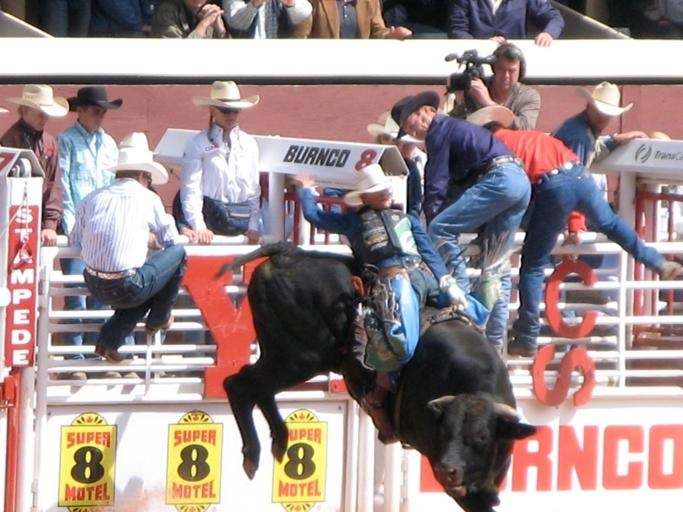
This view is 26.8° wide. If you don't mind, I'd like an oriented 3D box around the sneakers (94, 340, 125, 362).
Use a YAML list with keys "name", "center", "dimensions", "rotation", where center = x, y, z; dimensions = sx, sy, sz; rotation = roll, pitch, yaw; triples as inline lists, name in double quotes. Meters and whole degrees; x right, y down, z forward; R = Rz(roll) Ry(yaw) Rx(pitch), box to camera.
- name: "sneakers"
  center: [-1.763, 0.720, 10.742]
  dimensions: [0.175, 0.163, 0.238]
  rotation: [-3, 3, -7]

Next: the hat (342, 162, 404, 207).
- name: "hat"
  center: [0.208, -0.469, 10.356]
  dimensions: [0.338, 0.126, 0.302]
  rotation: [-25, -4, 38]

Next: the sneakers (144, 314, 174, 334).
- name: "sneakers"
  center: [-1.395, 0.518, 10.876]
  dimensions: [0.211, 0.142, 0.199]
  rotation: [-3, 3, -9]

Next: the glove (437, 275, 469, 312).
- name: "glove"
  center: [0.795, 0.264, 10.160]
  dimensions: [0.158, 0.258, 0.110]
  rotation: [7, -48, -51]

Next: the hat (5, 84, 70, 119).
- name: "hat"
  center: [-2.647, -1.357, 12.219]
  dimensions: [0.470, 0.173, 0.371]
  rotation: [8, -2, 34]

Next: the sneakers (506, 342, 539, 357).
- name: "sneakers"
  center: [1.381, 0.726, 11.077]
  dimensions: [0.258, 0.099, 0.091]
  rotation: [2, 0, 30]

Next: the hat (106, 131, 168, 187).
- name: "hat"
  center: [-1.528, -0.768, 11.167]
  dimensions: [0.385, 0.181, 0.443]
  rotation: [1, -18, 14]

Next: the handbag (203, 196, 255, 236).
- name: "handbag"
  center: [-0.989, -0.363, 11.806]
  dimensions: [0.451, 0.187, 0.339]
  rotation: [21, 12, 41]

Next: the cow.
- name: "cow"
  center: [0.139, 0.863, 10.340]
  dimensions: [2.521, 1.296, 0.973]
  rotation: [30, 21, 21]

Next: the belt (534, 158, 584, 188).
- name: "belt"
  center: [1.657, -0.634, 11.006]
  dimensions: [0.244, 0.072, 0.244]
  rotation: [-28, 0, 31]

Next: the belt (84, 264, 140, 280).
- name: "belt"
  center: [-1.734, 0.124, 10.675]
  dimensions: [0.388, 0.105, 0.103]
  rotation: [-2, 3, 15]

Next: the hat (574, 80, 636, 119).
- name: "hat"
  center: [2.090, -1.250, 11.572]
  dimensions: [0.336, 0.287, 0.378]
  rotation: [-2, 3, 9]

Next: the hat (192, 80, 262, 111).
- name: "hat"
  center: [-0.919, -1.291, 11.809]
  dimensions: [0.439, 0.151, 0.393]
  rotation: [-1, 4, -15]

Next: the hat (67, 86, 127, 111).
- name: "hat"
  center: [-2.255, -1.362, 12.532]
  dimensions: [0.372, 0.134, 0.345]
  rotation: [-3, -2, 21]

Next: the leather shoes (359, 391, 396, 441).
- name: "leather shoes"
  center: [0.259, 1.125, 10.235]
  dimensions: [0.272, 0.205, 0.411]
  rotation: [0, 38, 11]
